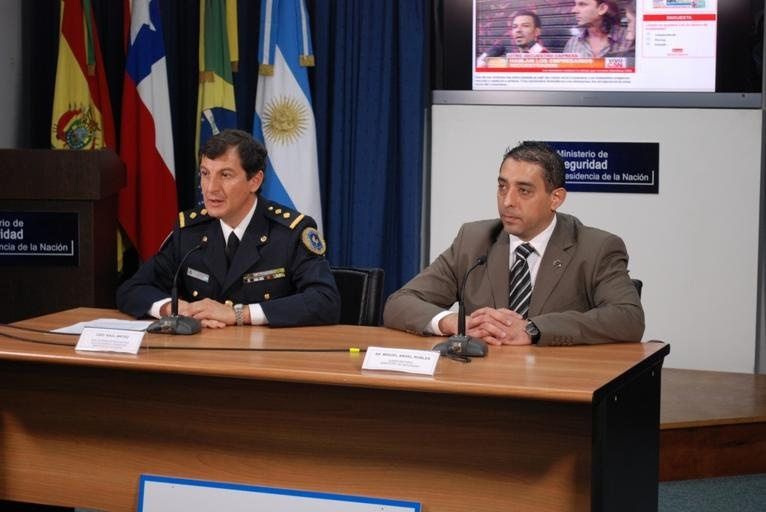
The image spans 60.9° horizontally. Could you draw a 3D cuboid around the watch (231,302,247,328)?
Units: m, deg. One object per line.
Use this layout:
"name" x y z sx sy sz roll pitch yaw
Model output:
"watch" -0.586 0.239 2.719 0.054 0.090 0.086 -5 10 -9
